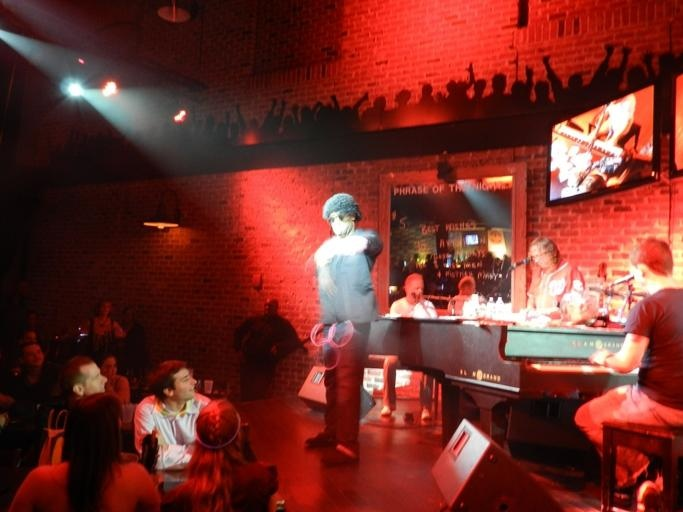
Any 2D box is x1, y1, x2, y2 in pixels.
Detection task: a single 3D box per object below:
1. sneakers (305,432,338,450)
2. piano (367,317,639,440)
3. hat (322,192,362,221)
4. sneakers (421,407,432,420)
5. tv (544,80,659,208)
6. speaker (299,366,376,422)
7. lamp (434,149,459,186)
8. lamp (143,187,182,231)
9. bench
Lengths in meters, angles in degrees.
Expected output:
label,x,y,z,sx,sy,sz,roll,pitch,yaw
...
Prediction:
label,x,y,z,sx,sy,sz,roll,pitch,yaw
sneakers,-0.163,1.483,4.390,0.260,0.126,0.111,3,-7,-5
piano,0.941,0.614,3.788,0.895,0.732,1.266,5,-8,-29
hat,0.022,-0.372,4.207,0.226,0.166,0.235,2,2,36
sneakers,0.854,1.612,5.583,0.095,0.119,0.103,-3,-9,13
tv,2.616,-1.127,5.468,0.120,0.989,1.202,3,-6,-31
speaker,-0.038,1.453,5.961,0.651,0.736,0.772,0,-1,-32
lamp,1.216,-1.053,6.420,0.242,0.406,0.353,-1,-1,12
lamp,-2.714,-0.687,8.097,0.524,0.635,0.581,1,-9,6
bench,0.662,1.483,6.125,0.725,0.879,0.654,-3,-11,9
